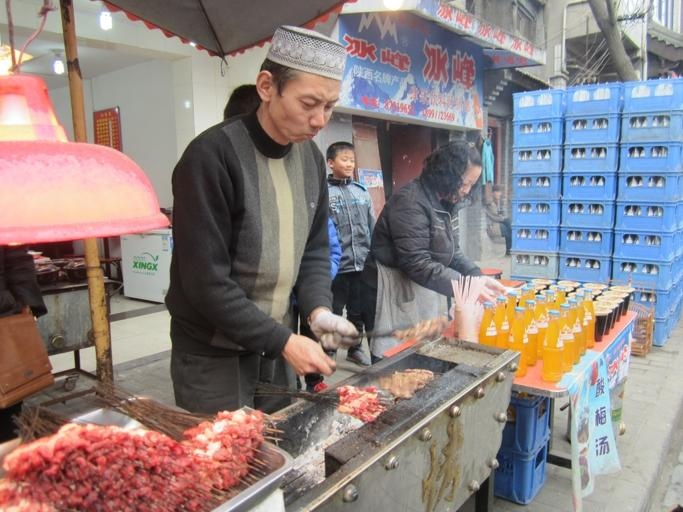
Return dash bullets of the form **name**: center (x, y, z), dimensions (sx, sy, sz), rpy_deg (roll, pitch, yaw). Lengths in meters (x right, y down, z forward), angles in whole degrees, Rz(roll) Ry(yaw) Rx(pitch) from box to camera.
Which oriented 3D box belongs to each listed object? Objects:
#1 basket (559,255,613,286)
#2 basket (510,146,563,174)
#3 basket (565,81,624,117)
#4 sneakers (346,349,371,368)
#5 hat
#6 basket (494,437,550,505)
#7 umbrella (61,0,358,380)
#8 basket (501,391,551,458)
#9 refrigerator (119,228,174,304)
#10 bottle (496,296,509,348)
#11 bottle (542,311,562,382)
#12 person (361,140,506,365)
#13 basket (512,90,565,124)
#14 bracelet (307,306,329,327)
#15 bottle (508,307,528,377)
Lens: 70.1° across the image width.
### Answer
- **basket**: center (2.785, 0.133, 5.567), dimensions (0.364, 0.240, 0.358), rpy_deg (-1, 4, -44)
- **basket**: center (2.270, -1.054, 5.682), dimensions (0.361, 0.245, 0.376), rpy_deg (3, 6, 30)
- **basket**: center (2.834, -1.716, 5.496), dimensions (0.572, 0.361, 0.599), rpy_deg (3, 9, 23)
- **sneakers**: center (0.190, 1.112, 5.293), dimensions (0.267, 0.121, 0.127), rpy_deg (8, 8, 35)
- **hat**: center (-0.138, -0.858, 2.019), dimensions (0.319, 0.171, 0.326), rpy_deg (26, 27, 26)
- **basket**: center (1.209, 1.417, 3.282), dimensions (0.389, 0.309, 0.397), rpy_deg (3, 6, 42)
- **umbrella**: center (-0.332, -0.178, 2.024), dimensions (0.790, 1.495, 0.632), rpy_deg (-5, 9, -22)
- **basket**: center (1.175, 1.080, 3.262), dimensions (0.319, 0.395, 0.387), rpy_deg (-1, 0, 42)
- **refrigerator**: center (-3.052, 0.146, 8.298), dimensions (1.119, 1.133, 0.851), rpy_deg (1, 4, 17)
- **bottle**: center (0.964, 0.408, 2.910), dimensions (0.079, 0.274, 0.117), rpy_deg (6, 11, 43)
- **bottle**: center (1.195, 0.504, 2.758), dimensions (0.093, 0.360, 0.254), rpy_deg (2, 9, 24)
- **person**: center (0.738, 0.209, 3.934), dimensions (1.010, 2.273, 0.795), rpy_deg (2, 28, 9)
- **basket**: center (2.208, -1.704, 5.475), dimensions (0.411, 0.275, 0.409), rpy_deg (-7, 8, -44)
- **bracelet**: center (-0.106, 0.261, 2.154), dimensions (0.079, 0.023, 0.084), rpy_deg (-39, 3, -24)
- **bottle**: center (1.043, 0.493, 2.855), dimensions (0.095, 0.383, 0.216), rpy_deg (2, 9, 21)
